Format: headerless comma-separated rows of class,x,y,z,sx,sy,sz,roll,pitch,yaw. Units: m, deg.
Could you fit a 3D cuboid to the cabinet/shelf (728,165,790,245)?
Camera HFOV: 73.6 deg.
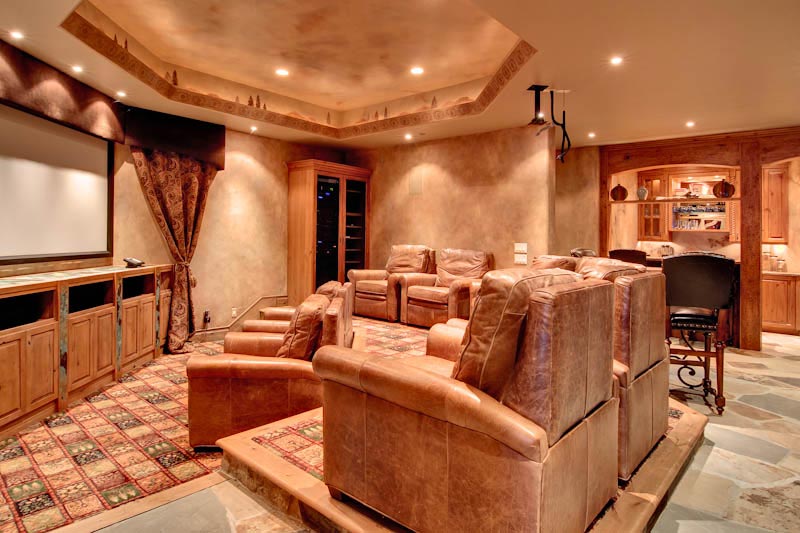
cabinet/shelf,5.851,-1.010,8.790,0.523,1.306,0.740,-1,4,-9

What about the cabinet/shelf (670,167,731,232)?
cabinet/shelf,5.213,-1.128,9.372,0.894,1.026,0.324,0,15,40

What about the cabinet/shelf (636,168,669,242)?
cabinet/shelf,4.686,-1.117,9.930,0.281,1.317,0.591,-1,4,-17
